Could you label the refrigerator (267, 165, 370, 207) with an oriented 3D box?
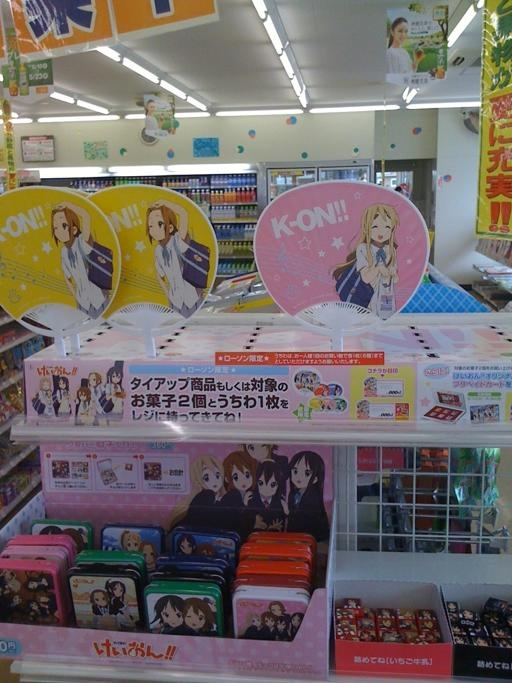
[{"bbox_3d":[1.276,-3.344,10.570,2.064,0.638,0.403,-4,12,-5],"label":"refrigerator"}]
